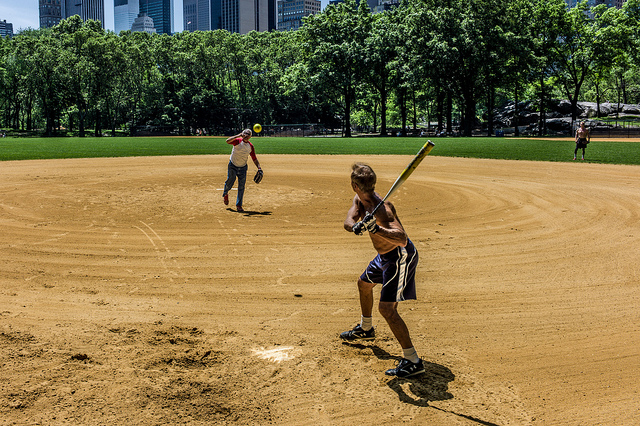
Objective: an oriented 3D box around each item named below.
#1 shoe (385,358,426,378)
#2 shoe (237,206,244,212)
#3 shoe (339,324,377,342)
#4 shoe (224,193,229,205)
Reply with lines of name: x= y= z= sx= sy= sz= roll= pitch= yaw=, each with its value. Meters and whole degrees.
shoe: x=1.802 y=3.140 z=14.760 sx=0.861 sy=0.385 sz=0.310 roll=0 pitch=-4 yaw=-5
shoe: x=-2.490 y=-0.168 z=22.659 sx=0.159 sy=0.130 sz=0.196 roll=2 pitch=9 yaw=-7
shoe: x=0.831 y=2.563 z=15.629 sx=0.884 sy=0.431 sz=0.304 roll=7 pitch=-1 yaw=0
shoe: x=-3.012 y=-0.467 z=23.441 sx=0.140 sy=0.319 sz=0.387 roll=2 pitch=9 yaw=-7
